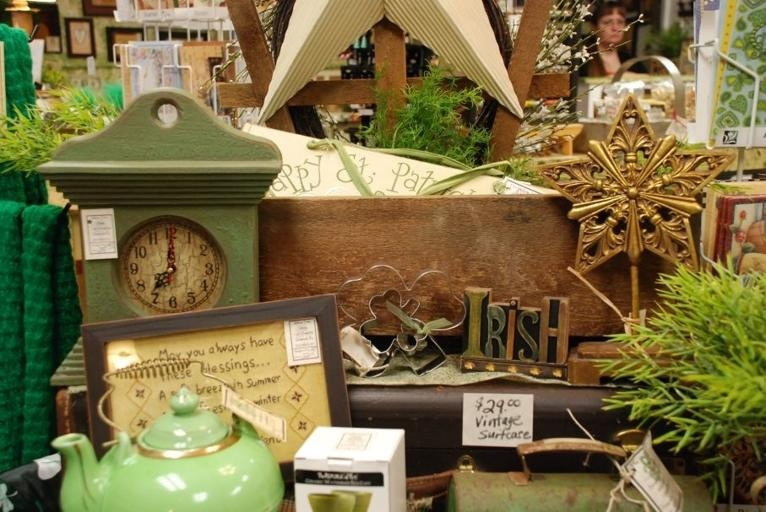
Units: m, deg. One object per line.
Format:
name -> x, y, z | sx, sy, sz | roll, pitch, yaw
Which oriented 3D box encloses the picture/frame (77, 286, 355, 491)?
picture/frame -> -0.409, 0.336, 1.857 | 0.528, 0.351, 0.040 | -7, -3, -11
